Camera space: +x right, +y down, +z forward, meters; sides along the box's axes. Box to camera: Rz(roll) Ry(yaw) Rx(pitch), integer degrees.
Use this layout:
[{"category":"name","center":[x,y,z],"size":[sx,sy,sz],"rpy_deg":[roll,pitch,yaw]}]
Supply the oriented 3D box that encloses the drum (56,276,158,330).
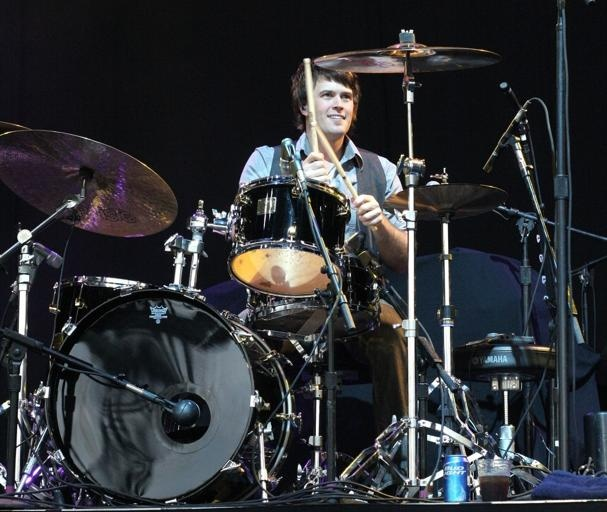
[{"category":"drum","center":[-0.845,0.172,4.388],"size":[0.292,0.187,0.271],"rpy_deg":[3,-14,1]}]

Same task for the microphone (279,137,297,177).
[{"category":"microphone","center":[-0.063,-0.370,4.008],"size":[0.089,0.123,0.132],"rpy_deg":[-1,-3,-2]}]

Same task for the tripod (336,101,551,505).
[{"category":"tripod","center":[0.731,0.327,4.803],"size":[1.227,1.609,1.195],"rpy_deg":[-2,-5,10]}]

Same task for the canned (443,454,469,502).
[{"category":"canned","center":[0.502,0.735,3.561],"size":[0.079,0.148,0.179],"rpy_deg":[2,-6,8]}]

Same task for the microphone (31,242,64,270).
[{"category":"microphone","center":[-1.054,-0.005,4.494],"size":[0.147,0.088,0.057],"rpy_deg":[31,-4,-12]}]

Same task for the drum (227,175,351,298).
[{"category":"drum","center":[-0.023,-0.117,4.304],"size":[0.372,0.275,0.382],"rpy_deg":[3,6,0]}]

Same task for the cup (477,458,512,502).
[{"category":"cup","center":[0.641,0.750,3.633],"size":[0.102,0.139,0.109],"rpy_deg":[2,-6,0]}]
